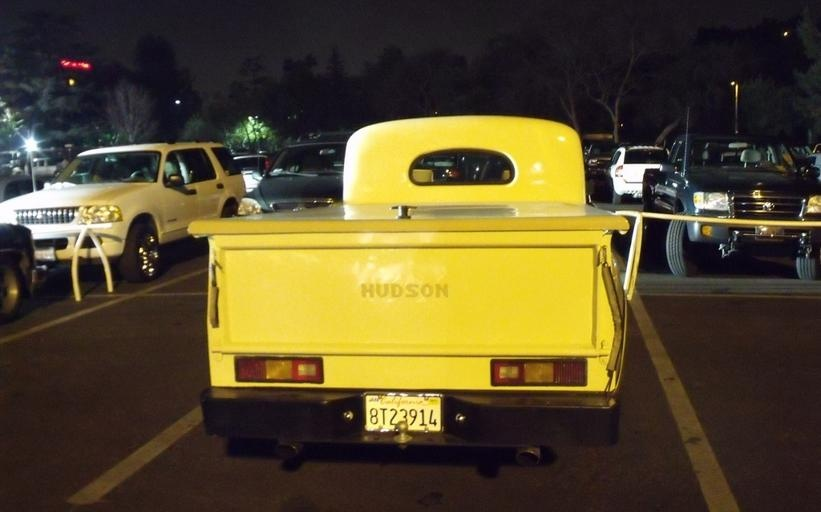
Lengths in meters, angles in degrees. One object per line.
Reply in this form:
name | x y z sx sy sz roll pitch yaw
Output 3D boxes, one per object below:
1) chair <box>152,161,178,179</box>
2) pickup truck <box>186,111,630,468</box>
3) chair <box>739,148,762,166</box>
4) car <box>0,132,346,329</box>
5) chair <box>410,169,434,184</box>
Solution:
chair | -4.671 -1.629 13.596 0.409 0.328 0.579 7 -4 -16
pickup truck | 0.002 0.216 7.037 3.616 2.963 2.954 0 13 5
chair | 6.269 -1.834 13.341 0.259 0.279 0.360 -6 -1 2
car | -5.291 -0.745 14.042 2.770 2.192 4.865 -1 5 17
chair | 0.114 -0.875 7.877 0.276 0.191 0.150 0 -2 -14
